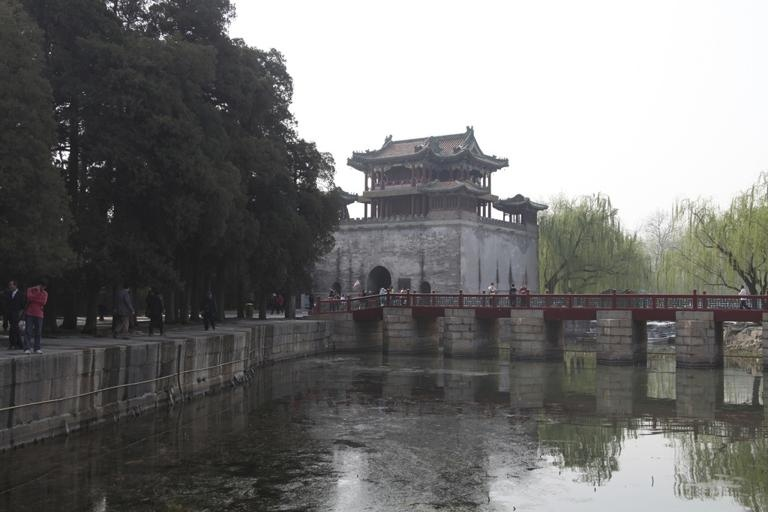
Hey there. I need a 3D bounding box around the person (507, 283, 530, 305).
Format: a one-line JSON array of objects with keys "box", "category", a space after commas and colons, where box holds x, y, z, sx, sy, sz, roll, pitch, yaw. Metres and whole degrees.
[{"box": [6.801, 1.939, 42.031, 0.588, 0.829, 0.816, -3, 3, -33], "category": "person"}]

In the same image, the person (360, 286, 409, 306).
[{"box": [0.220, 2.080, 40.922, 1.917, 0.607, 1.188, -7, -7, 41], "category": "person"}]
